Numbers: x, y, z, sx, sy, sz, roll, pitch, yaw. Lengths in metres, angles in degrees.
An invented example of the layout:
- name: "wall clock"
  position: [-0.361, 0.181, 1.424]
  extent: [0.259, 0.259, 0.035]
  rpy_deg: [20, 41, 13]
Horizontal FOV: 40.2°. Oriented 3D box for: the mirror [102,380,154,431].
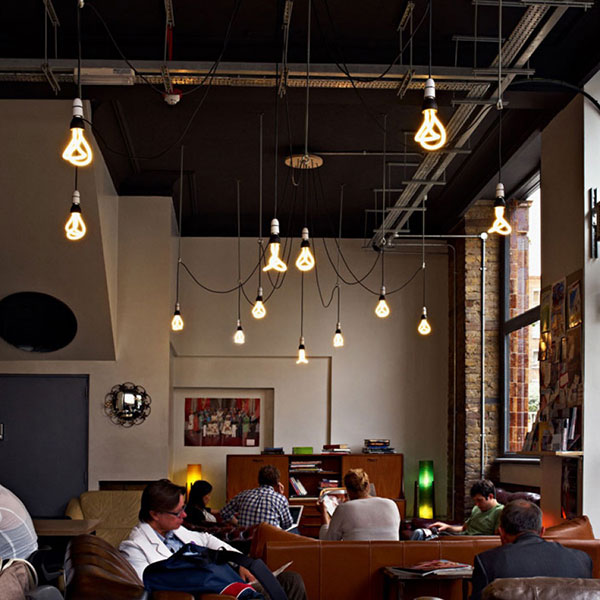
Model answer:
- name: "mirror"
  position: [-2.025, 1.236, 9.649]
  extent: [0.556, 0.512, 0.176]
  rpy_deg: [4, -10, -15]
